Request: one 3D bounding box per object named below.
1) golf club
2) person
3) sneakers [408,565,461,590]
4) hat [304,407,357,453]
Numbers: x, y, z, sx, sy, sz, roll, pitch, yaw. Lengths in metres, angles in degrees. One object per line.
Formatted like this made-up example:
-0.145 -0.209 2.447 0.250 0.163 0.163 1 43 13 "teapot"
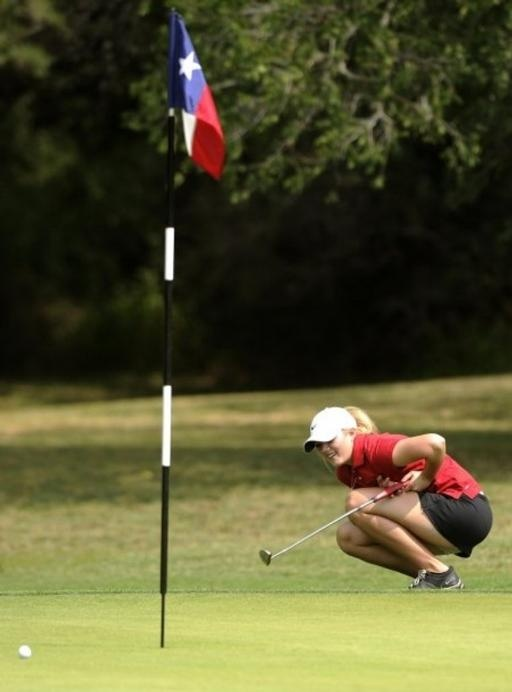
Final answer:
0.333 0.768 4.456 0.703 0.077 0.117 -27 -8 -7 "golf club"
0.634 0.708 4.556 0.955 0.838 0.779 2 -16 -8 "person"
0.762 1.000 4.408 0.248 0.081 0.083 -3 -7 -4 "sneakers"
0.292 0.356 4.458 0.168 0.129 0.241 -19 6 45 "hat"
